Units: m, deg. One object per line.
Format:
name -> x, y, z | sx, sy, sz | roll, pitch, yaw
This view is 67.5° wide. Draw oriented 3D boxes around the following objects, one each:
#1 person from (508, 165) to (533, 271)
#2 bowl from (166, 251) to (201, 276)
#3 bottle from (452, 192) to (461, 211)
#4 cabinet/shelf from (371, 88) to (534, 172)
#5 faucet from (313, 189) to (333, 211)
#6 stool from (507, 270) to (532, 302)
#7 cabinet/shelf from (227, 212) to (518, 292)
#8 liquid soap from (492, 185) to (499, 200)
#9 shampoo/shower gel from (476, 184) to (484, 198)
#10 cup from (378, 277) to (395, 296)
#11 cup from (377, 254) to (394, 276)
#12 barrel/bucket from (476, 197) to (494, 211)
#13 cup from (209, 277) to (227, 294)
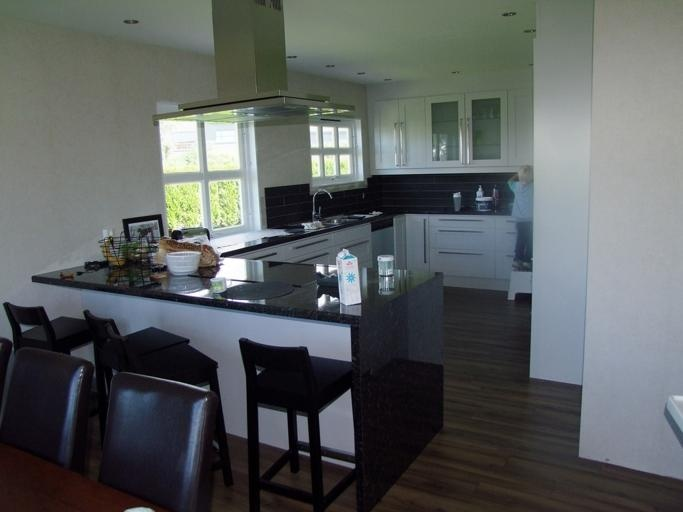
person -> 2.142, -0.466, 6.129 | 0.252, 1.181, 0.425 | 1, 14, 17
bowl -> -1.092, 0.051, 3.541 | 0.168, 0.120, 0.184 | -1, -4, 0
bottle -> 1.589, -0.760, 7.025 | 0.110, 0.228, 0.259 | 1, 14, 14
cabinet/shelf -> 1.483, -1.618, 6.697 | 1.896, 1.003, 0.295 | 1, 14, 16
faucet -> -0.224, -0.730, 6.455 | 0.144, 0.262, 0.515 | 3, 15, 24
stool -> 2.117, 0.321, 6.142 | 0.374, 0.303, 0.300 | 0, 9, 5
cabinet/shelf -> 0.993, -0.131, 6.268 | 1.941, 0.580, 1.379 | 4, 7, 28
liquid soap -> 2.078, -0.859, 6.902 | 0.084, 0.180, 0.101 | 0, 14, 11
shampoo/shower gel -> 1.875, -0.876, 6.934 | 0.098, 0.166, 0.173 | 0, 14, 13
cup -> 0.268, 0.178, 3.068 | 0.096, 0.109, 0.097 | 1, 7, 0
cup -> 0.270, 0.051, 3.292 | 0.119, 0.125, 0.119 | -2, 10, 0
barrel/bucket -> 1.914, -0.710, 6.887 | 0.207, 0.156, 0.194 | -2, 15, 0
cup -> -0.765, 0.181, 3.144 | 0.080, 0.075, 0.105 | 1, 2, 8
